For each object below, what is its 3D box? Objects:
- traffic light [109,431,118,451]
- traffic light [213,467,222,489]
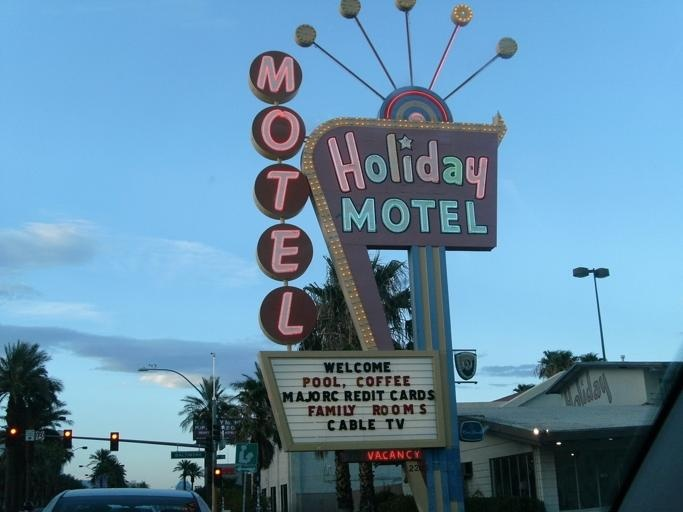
[{"bbox_3d":[-13.338,10.856,51.947,0.454,0.934,1.016,4,-18,-12],"label":"traffic light"},{"bbox_3d":[-6.479,11.472,46.179,0.369,0.875,0.889,4,-17,-11],"label":"traffic light"}]
